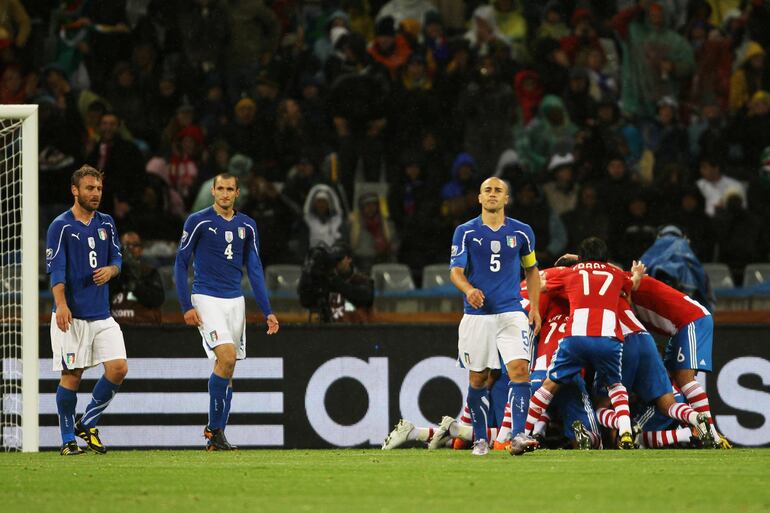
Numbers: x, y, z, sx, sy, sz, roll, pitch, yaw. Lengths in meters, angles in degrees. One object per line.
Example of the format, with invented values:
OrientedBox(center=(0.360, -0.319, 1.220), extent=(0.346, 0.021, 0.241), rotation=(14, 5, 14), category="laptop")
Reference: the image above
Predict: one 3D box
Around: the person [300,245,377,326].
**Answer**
OrientedBox(center=(-0.615, 0.328, 15.547), extent=(0.698, 0.923, 0.470), rotation=(7, -20, -11), category="person")

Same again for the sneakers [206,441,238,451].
OrientedBox(center=(-1.829, 2.050, 14.780), extent=(0.296, 0.121, 0.116), rotation=(1, -2, -16), category="sneakers")

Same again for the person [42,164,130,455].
OrientedBox(center=(-3.208, 0.562, 14.293), extent=(0.779, 3.115, 0.390), rotation=(-2, 0, -15), category="person")

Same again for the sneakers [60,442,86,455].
OrientedBox(center=(-3.362, 2.029, 14.315), extent=(0.232, 0.107, 0.122), rotation=(-1, -2, 5), category="sneakers")
